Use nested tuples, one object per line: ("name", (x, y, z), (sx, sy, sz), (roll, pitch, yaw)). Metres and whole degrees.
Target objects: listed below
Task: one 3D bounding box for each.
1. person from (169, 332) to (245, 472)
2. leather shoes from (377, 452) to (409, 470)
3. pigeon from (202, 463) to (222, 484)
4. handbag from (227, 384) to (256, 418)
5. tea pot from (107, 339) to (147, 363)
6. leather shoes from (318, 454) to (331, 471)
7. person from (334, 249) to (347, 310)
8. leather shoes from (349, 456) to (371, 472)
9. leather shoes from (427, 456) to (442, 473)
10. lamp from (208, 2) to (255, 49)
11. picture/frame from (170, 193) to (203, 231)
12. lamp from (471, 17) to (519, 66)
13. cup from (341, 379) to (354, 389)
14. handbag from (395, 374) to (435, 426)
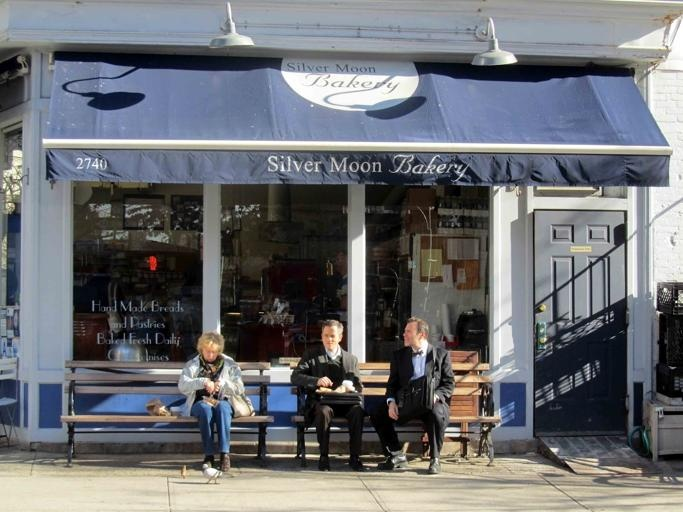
("person", (-1.542, 1.698, 13.172), (0.757, 1.650, 0.492), (0, -12, -8))
("leather shoes", (0.597, 2.453, 13.360), (0.319, 0.170, 0.178), (1, -5, -5))
("pigeon", (-1.485, 2.486, 12.829), (0.217, 0.209, 0.322), (-1, -12, -3))
("handbag", (-1.212, 1.731, 13.351), (0.155, 0.355, 0.355), (-22, -12, 7))
("tea pot", (-2.679, 1.185, 13.979), (0.366, 0.272, 0.285), (-3, -9, 4))
("leather shoes", (-0.211, 2.440, 13.229), (0.136, 0.155, 0.380), (1, -9, -10))
("person", (0.002, 0.317, 14.237), (0.156, 0.735, 0.176), (-2, -12, 0))
("leather shoes", (0.225, 2.471, 13.324), (0.284, 0.186, 0.198), (10, -17, -43))
("leather shoes", (1.103, 2.482, 13.237), (0.198, 0.189, 0.153), (2, -13, -18))
("lamp", (-1.377, -2.706, 13.355), (0.609, 0.640, 0.570), (-3, 7, -23))
("picture/frame", (-1.976, -0.558, 14.084), (0.414, 0.455, 0.047), (4, -5, -6))
("lamp", (1.798, -2.580, 13.730), (0.586, 0.687, 0.674), (-4, 7, -9))
("cup", (0.086, 1.542, 13.398), (0.165, 0.132, 0.133), (4, -14, -25))
("handbag", (0.881, 1.699, 13.327), (0.198, 0.459, 0.474), (21, -33, -35))
